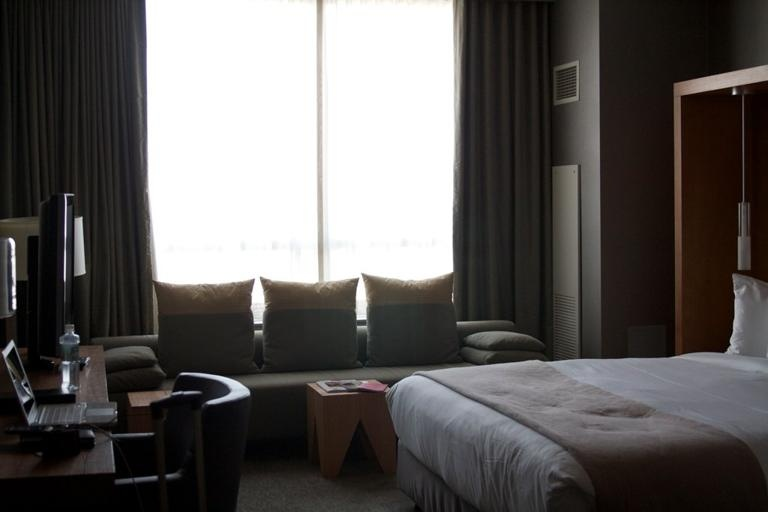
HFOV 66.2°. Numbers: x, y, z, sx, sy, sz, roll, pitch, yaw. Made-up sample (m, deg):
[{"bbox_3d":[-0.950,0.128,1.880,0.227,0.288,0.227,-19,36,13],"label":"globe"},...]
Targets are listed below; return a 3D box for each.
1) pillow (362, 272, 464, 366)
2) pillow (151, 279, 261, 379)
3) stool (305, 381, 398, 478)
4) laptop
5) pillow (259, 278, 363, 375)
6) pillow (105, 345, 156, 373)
[{"bbox_3d":[0.241,0.585,5.194,0.726,0.727,0.271,1,-17,-8],"label":"pillow"},{"bbox_3d":[-1.447,0.617,4.792,0.723,0.734,0.250,1,-15,-14],"label":"pillow"},{"bbox_3d":[-0.294,1.268,4.462,0.608,0.669,0.616,0,-8,-15],"label":"stool"},{"bbox_3d":[-1.417,0.628,2.599,0.436,0.326,0.422,-3,7,-12],"label":"laptop"},{"bbox_3d":[-0.628,0.619,4.995,0.707,0.690,0.262,1,-16,-12],"label":"pillow"},{"bbox_3d":[-1.902,0.778,4.446,0.221,0.070,0.222,-5,11,-21],"label":"pillow"}]
